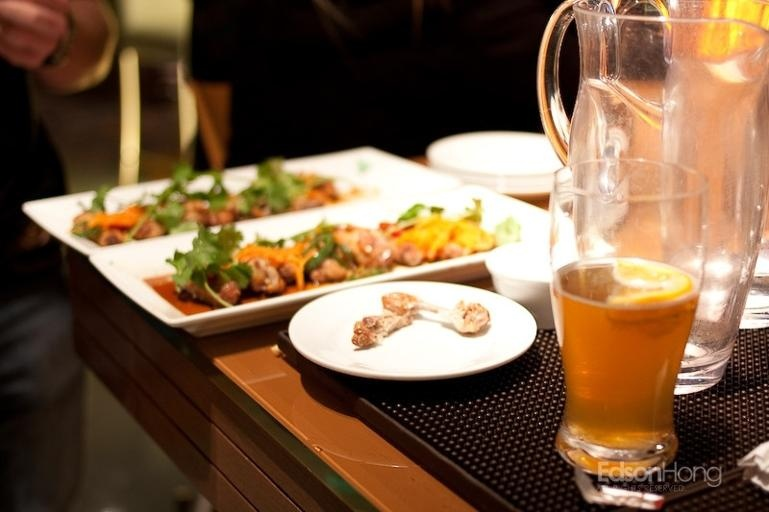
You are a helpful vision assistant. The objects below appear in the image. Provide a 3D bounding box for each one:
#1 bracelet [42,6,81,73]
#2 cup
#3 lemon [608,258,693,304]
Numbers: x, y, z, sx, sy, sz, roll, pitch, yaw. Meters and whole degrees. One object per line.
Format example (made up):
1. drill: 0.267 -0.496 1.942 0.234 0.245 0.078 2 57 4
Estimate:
1. bracelet: -1.229 -0.818 2.227 0.073 0.187 0.171 17 -26 -39
2. cup: 0.226 0.055 0.562 0.125 0.249 0.206 9 35 26
3. lemon: 0.243 0.025 0.530 0.070 0.020 0.055 5 32 20
